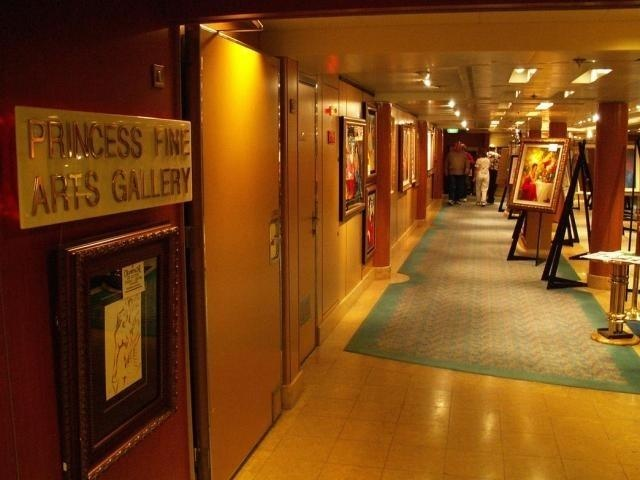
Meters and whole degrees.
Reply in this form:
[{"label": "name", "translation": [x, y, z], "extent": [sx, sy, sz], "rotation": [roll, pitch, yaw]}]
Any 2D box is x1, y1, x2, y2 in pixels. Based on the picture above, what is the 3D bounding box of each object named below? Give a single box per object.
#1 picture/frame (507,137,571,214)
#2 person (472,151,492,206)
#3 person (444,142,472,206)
[{"label": "picture/frame", "translation": [4.518, -1.361, 9.555], "extent": [0.953, 1.419, 0.879], "rotation": [10, 18, 37]}, {"label": "person", "translation": [7.168, -2.579, 20.458], "extent": [0.578, 2.112, 0.790], "rotation": [4, 14, 18]}, {"label": "person", "translation": [6.294, -3.044, 21.145], "extent": [1.008, 2.734, 1.564], "rotation": [4, 15, 18]}]
